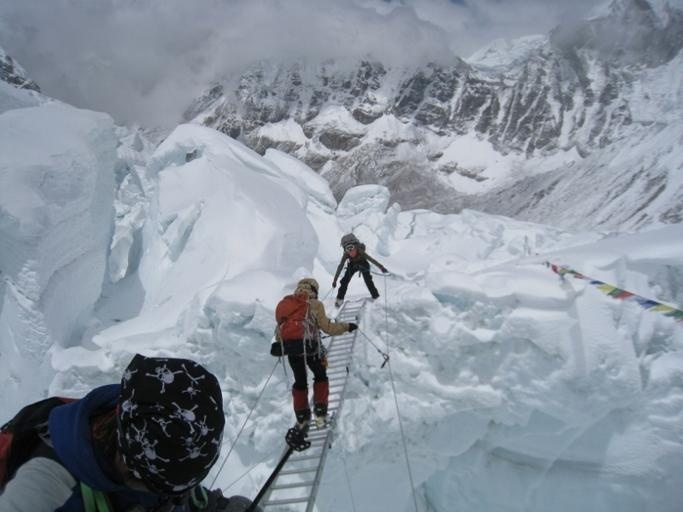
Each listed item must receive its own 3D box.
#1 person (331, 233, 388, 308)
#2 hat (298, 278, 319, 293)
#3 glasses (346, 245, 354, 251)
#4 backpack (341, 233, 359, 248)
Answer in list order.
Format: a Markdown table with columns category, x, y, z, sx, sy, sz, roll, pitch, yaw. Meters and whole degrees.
| category | x | y | z | sx | sy | sz | roll | pitch | yaw |
| --- | --- | --- | --- | --- | --- | --- | --- | --- | --- |
| person | 0.449 | 0.371 | 12.822 | 1.413 | 2.170 | 0.738 | -3 | 28 | 5 |
| hat | -0.681 | 0.576 | 10.487 | 0.311 | 0.246 | 0.302 | -2 | 76 | -48 |
| glasses | 0.219 | -0.191 | 12.367 | 0.118 | 0.155 | 0.071 | -2 | 46 | 2 |
| backpack | 0.202 | -0.333 | 12.550 | 0.290 | 0.369 | 0.334 | -24 | 56 | 3 |
